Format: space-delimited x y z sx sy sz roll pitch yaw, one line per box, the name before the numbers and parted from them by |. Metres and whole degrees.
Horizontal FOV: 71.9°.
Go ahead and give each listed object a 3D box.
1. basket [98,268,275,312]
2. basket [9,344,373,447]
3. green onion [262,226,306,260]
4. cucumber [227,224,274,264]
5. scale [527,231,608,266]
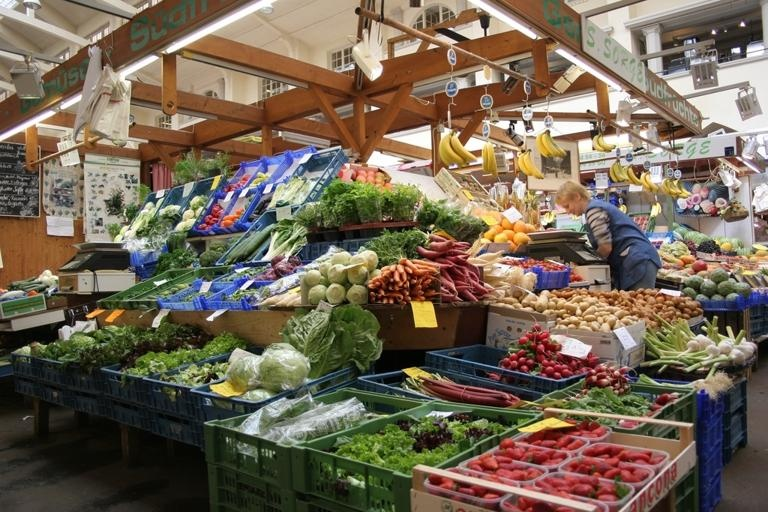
basket | -1.987 0.343 5.182 1.458 0.168 0.749 -2 20 29
basket | -2.022 1.137 4.298 2.722 0.323 1.205 -5 -4 39
green onion | -0.957 -0.128 5.360 0.392 0.180 0.407 -16 25 21
cucumber | -1.412 -0.130 5.689 0.634 0.129 0.166 -33 50 -27
scale | 2.081 -0.124 6.111 0.695 0.271 0.836 -5 -4 34
